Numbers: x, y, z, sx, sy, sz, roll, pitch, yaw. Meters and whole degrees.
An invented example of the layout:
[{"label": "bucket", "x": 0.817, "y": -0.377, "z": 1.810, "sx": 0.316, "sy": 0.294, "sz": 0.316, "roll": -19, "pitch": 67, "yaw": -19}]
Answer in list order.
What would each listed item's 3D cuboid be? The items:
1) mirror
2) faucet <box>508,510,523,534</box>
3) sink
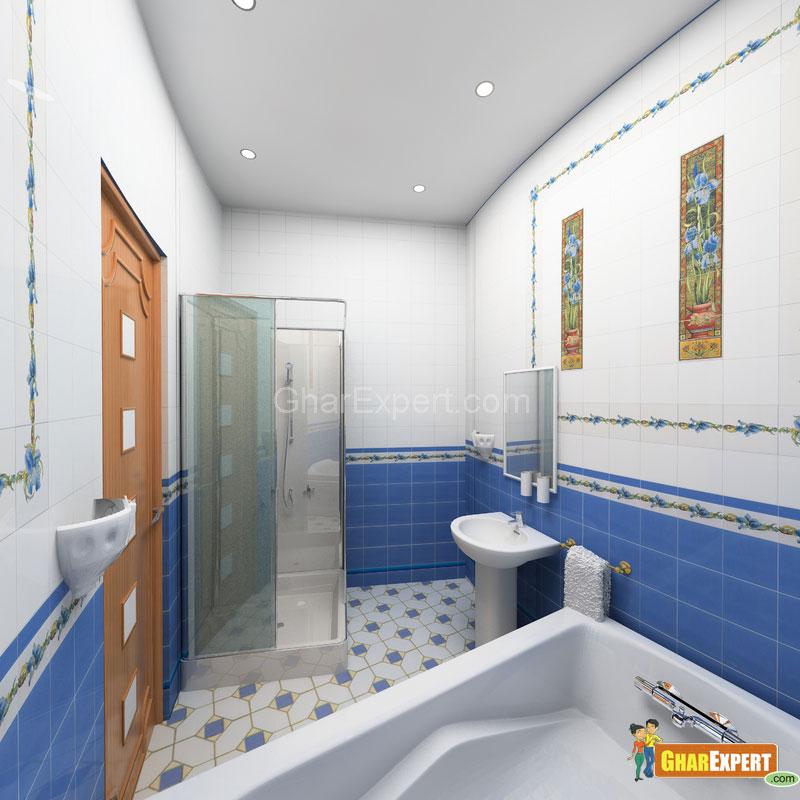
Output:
[{"label": "mirror", "x": 0.639, "y": 0.109, "z": 3.032, "sx": 0.016, "sy": 0.557, "sz": 0.469, "roll": -10, "pitch": -9, "yaw": 40}, {"label": "faucet", "x": 0.595, "y": 0.605, "z": 3.008, "sx": 0.083, "sy": 0.109, "sz": 0.069, "roll": 0, "pitch": 1, "yaw": -20}, {"label": "sink", "x": 0.465, "y": 0.694, "z": 2.957, "sx": 0.416, "sy": 0.165, "sz": 0.634, "roll": -3, "pitch": 2, "yaw": -14}]
